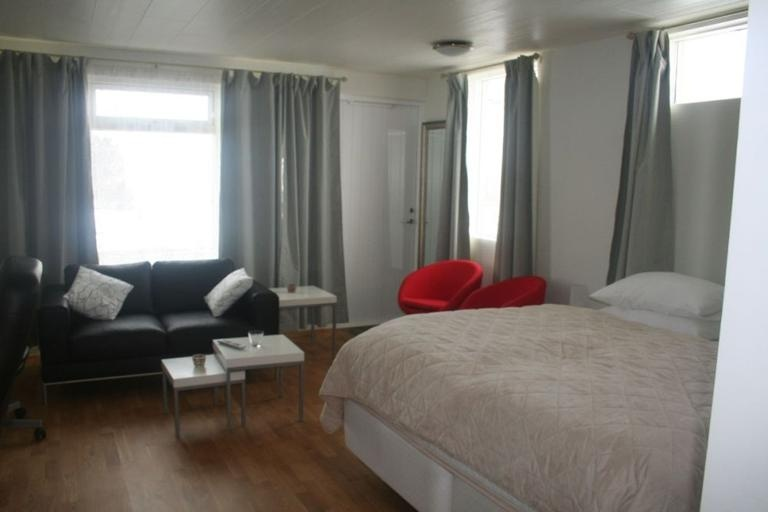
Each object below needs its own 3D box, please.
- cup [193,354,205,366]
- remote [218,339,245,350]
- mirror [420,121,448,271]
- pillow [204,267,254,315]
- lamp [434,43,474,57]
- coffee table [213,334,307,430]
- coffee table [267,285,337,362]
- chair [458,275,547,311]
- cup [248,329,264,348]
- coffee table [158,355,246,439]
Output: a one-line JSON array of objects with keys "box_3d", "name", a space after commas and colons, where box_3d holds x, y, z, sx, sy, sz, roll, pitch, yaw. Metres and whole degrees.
[{"box_3d": [-1.394, 0.778, 4.247, 0.081, 0.064, 0.082, 3, 11, -1], "name": "cup"}, {"box_3d": [-1.178, 0.684, 4.358, 0.080, 0.044, 0.269, -6, 8, -44], "name": "remote"}, {"box_3d": [0.641, -0.960, 6.816, 0.440, 1.150, 0.074, -12, 19, -36], "name": "mirror"}, {"box_3d": [-1.389, 0.365, 5.298, 0.323, 0.099, 0.342, -29, 19, 45], "name": "pillow"}, {"box_3d": [0.632, -1.943, 5.302, 0.373, 0.103, 0.256, 3, 13, 4], "name": "lamp"}, {"box_3d": [-0.900, 1.032, 4.406, 0.591, 0.488, 0.560, -4, -3, -11], "name": "coffee table"}, {"box_3d": [-0.827, 0.666, 5.790, 0.676, 0.662, 0.682, -1, 4, -19], "name": "coffee table"}, {"box_3d": [1.174, 0.401, 5.221, 0.470, 0.515, 0.429, 5, -6, -38], "name": "chair"}, {"box_3d": [-0.997, 0.642, 4.382, 0.107, 0.103, 0.120, 1, -7, 0], "name": "cup"}, {"box_3d": [-1.386, 0.994, 4.302, 0.549, 0.496, 0.557, -4, 14, -24], "name": "coffee table"}]
